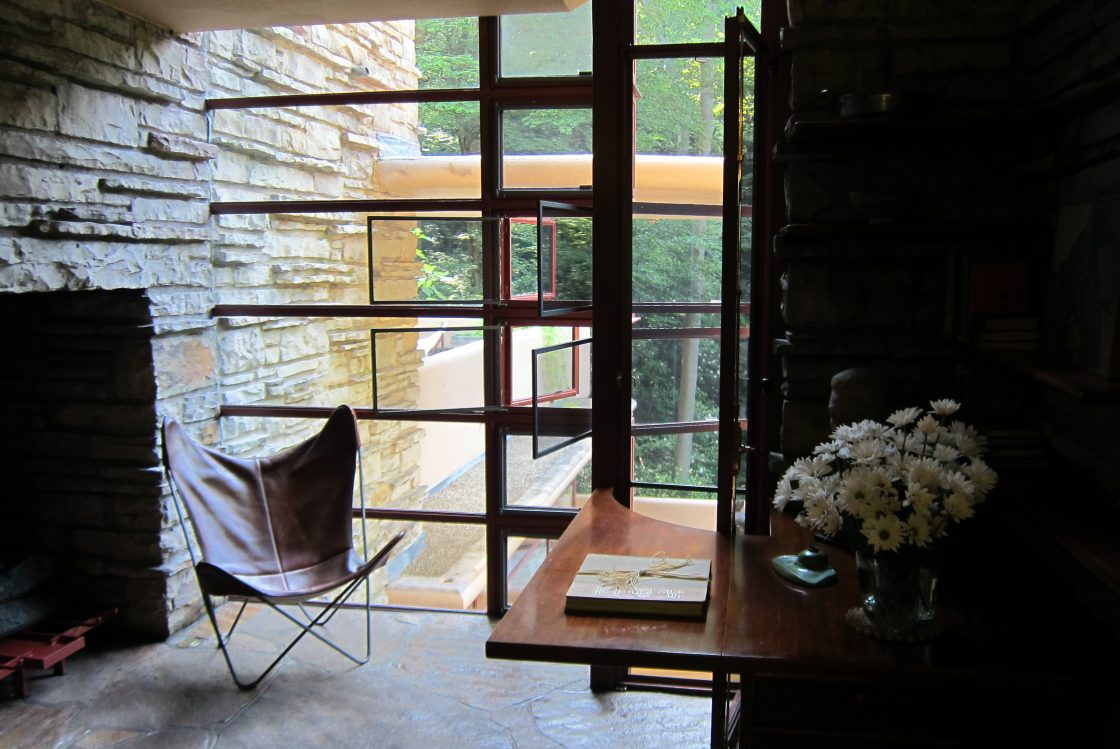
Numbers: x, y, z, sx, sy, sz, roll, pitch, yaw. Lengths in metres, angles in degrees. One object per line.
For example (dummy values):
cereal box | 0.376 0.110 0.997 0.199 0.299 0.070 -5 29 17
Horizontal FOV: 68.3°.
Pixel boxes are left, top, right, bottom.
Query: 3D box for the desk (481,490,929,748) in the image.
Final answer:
desk | 0.330 0.657 2.318 0.915 0.477 0.842 0 11 6

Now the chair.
chair | -1.165 0.715 3.468 0.845 0.946 0.951 -3 10 -29
